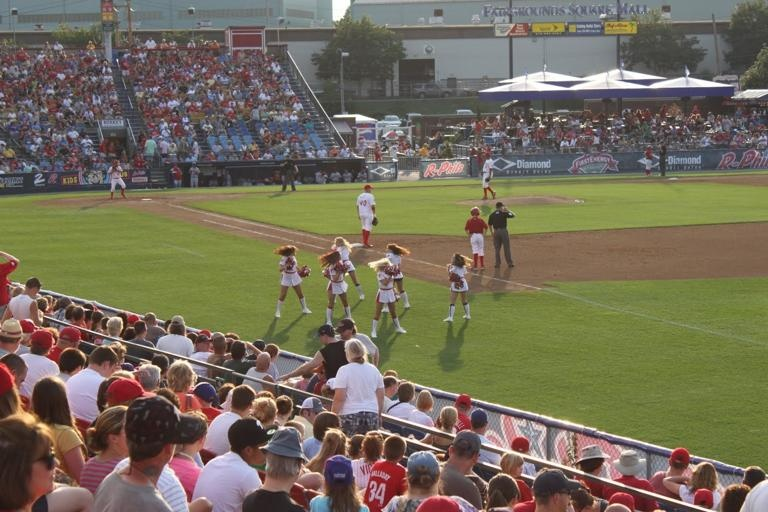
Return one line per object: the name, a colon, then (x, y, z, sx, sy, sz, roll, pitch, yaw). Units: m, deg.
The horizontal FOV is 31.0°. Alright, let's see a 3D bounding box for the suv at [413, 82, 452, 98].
suv: (4.938, -16.876, 140.546, 3.435, 1.390, 1.583, -2, 17, -4)
